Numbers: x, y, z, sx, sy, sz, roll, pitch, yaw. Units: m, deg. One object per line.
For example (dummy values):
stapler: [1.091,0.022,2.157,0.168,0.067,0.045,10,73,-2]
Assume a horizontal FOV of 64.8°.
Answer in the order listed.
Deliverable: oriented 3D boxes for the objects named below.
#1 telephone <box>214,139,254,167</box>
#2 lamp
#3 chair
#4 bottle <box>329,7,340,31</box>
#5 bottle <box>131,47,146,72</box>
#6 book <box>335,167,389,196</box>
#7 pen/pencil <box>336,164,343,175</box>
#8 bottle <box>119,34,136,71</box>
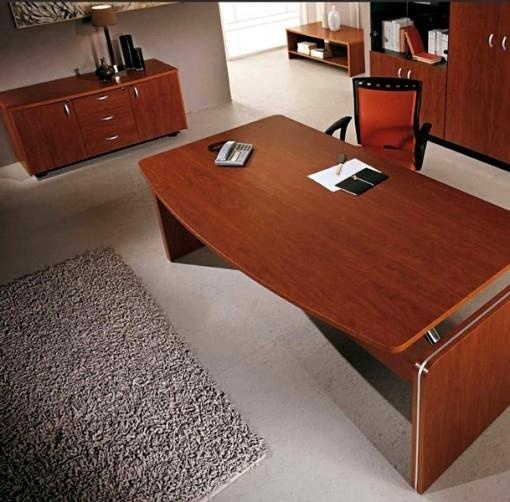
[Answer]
telephone: [-0.160,-0.702,2.911,0.198,0.060,0.293,9,43,13]
lamp: [-1.729,-2.485,4.772,0.283,0.791,0.655,-15,30,-15]
chair: [1.011,-0.825,3.258,0.708,0.951,0.614,24,53,36]
bottle: [1.364,-4.002,6.923,0.204,0.339,0.205,-8,44,8]
bottle: [-1.425,-2.344,4.920,0.134,0.244,0.164,-15,30,-16]
book: [0.669,-0.442,2.532,0.280,0.037,0.170,-32,45,-28]
pen/pencil: [0.555,-0.540,2.649,0.026,0.025,0.109,11,64,21]
bottle: [-1.586,-2.461,4.980,0.165,0.542,0.142,-11,51,-13]
